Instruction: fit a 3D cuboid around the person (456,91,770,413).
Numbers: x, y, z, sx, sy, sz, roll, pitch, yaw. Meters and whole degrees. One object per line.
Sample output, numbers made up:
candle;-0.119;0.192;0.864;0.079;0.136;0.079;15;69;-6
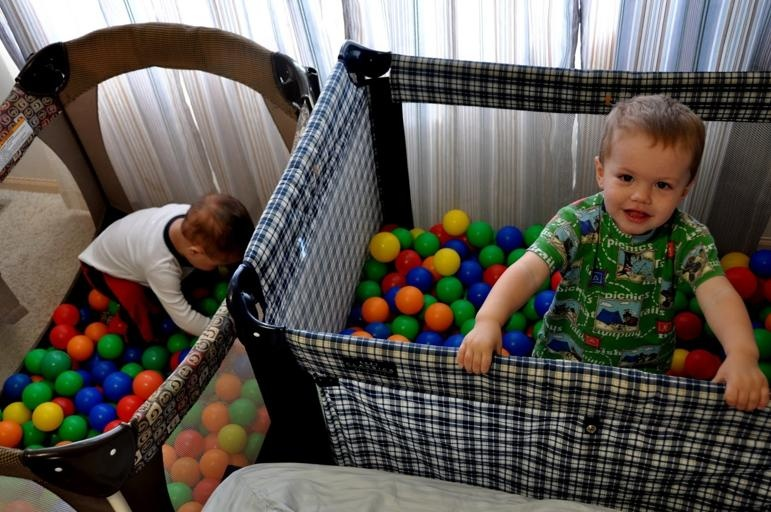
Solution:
person;0.556;0.042;1.285;0.618;0.782;0.517;0;25;10
